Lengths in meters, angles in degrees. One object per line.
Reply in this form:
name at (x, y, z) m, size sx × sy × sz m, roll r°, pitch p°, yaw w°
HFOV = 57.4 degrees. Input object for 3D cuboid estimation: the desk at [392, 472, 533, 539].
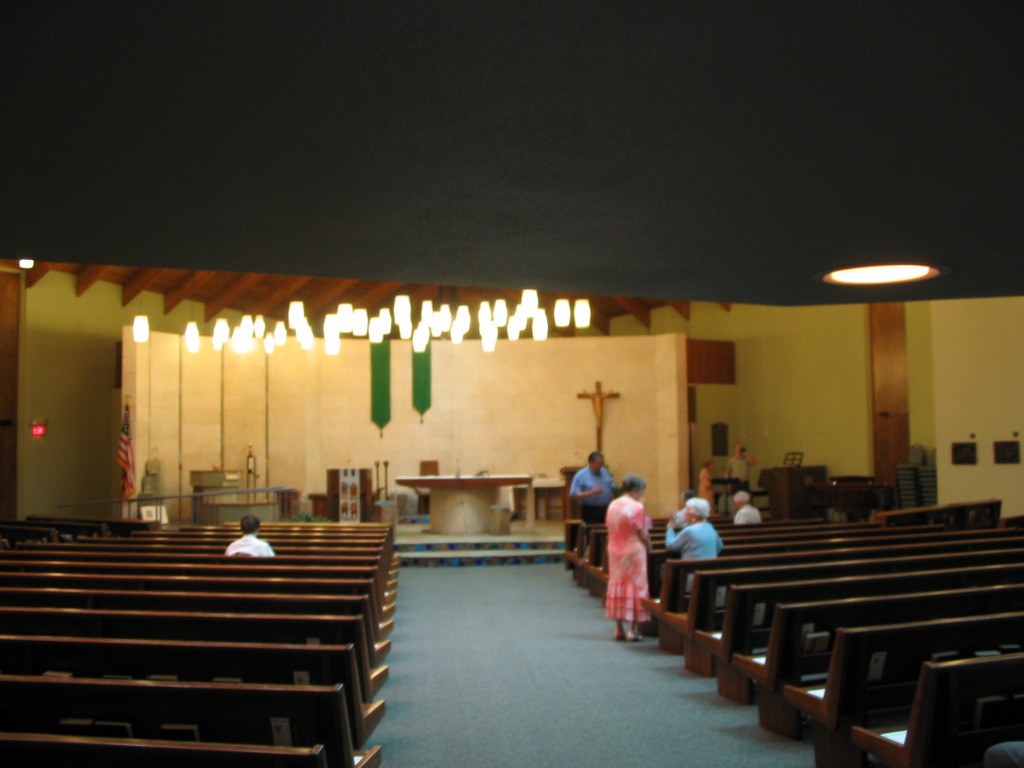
desk at (-0.544, 1.811, 14.238) m, size 1.634 × 0.632 × 1.555 m, roll 1°, pitch -2°, yaw -5°
